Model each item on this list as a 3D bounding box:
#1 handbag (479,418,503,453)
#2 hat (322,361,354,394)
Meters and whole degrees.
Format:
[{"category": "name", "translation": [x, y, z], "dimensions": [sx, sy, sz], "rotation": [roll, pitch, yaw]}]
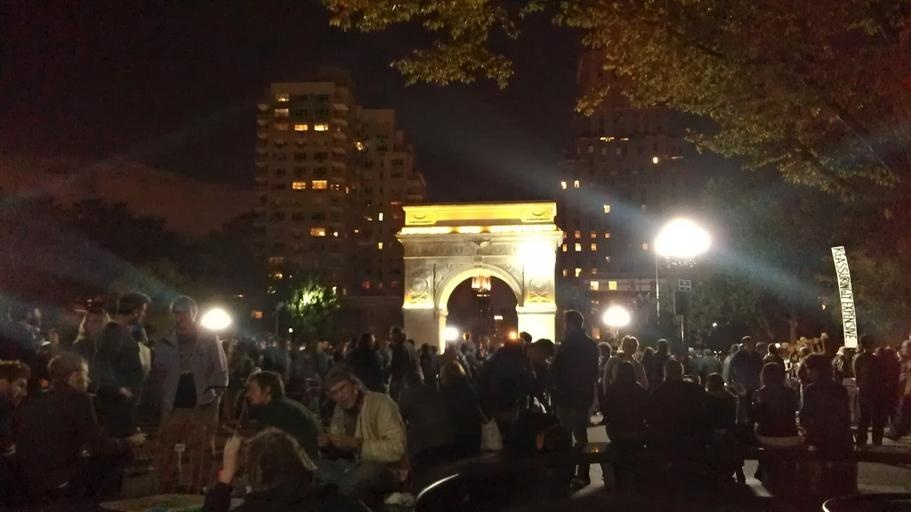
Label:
[{"category": "handbag", "translation": [0.951, 4.809, 26.734], "dimensions": [0.842, 0.940, 0.702], "rotation": [-1, -20, 1]}, {"category": "hat", "translation": [-2.953, 3.039, 25.278], "dimensions": [0.677, 0.743, 0.819], "rotation": [-4, -16, -2]}]
